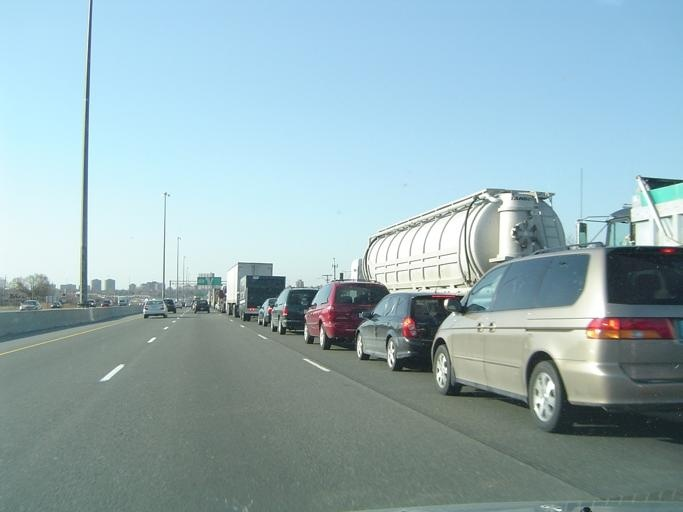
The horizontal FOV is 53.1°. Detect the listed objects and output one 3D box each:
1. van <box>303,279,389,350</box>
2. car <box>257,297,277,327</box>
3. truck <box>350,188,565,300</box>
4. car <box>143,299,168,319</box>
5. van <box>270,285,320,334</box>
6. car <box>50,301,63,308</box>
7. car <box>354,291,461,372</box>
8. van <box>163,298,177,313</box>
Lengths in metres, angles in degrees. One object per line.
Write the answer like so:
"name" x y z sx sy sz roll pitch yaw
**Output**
"van" -0.082 1.631 20.387 1.337 1.326 3.054 0 -1 -11
"car" -3.679 2.798 33.943 0.732 0.941 2.014 1 -2 -9
"truck" 3.665 -0.232 22.069 2.588 2.727 7.880 1 -8 -21
"car" -12.614 3.660 46.635 1.067 0.882 2.577 0 0 -11
"van" -1.918 2.064 27.070 1.230 1.244 2.815 0 0 -13
"car" -46.331 7.930 111.118 1.012 0.804 1.673 2 3 -2
"car" 1.336 1.505 15.092 1.178 1.055 2.552 1 -1 -15
"van" -16.417 4.771 65.220 1.518 1.219 3.445 0 -6 -9
